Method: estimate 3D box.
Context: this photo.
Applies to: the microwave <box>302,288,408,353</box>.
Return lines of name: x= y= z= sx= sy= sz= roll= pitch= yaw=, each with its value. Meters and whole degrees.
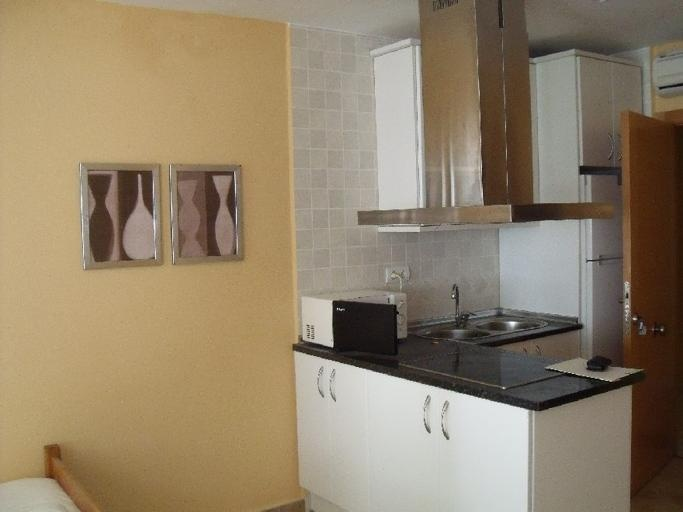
microwave: x=0.079 y=0.357 z=3.835 sx=0.355 sy=0.201 sz=0.473 roll=-2 pitch=1 yaw=-39

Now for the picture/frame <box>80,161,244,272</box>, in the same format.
picture/frame: x=-1.038 y=-0.234 z=3.793 sx=0.948 sy=0.649 sz=0.093 roll=3 pitch=-5 yaw=-27
